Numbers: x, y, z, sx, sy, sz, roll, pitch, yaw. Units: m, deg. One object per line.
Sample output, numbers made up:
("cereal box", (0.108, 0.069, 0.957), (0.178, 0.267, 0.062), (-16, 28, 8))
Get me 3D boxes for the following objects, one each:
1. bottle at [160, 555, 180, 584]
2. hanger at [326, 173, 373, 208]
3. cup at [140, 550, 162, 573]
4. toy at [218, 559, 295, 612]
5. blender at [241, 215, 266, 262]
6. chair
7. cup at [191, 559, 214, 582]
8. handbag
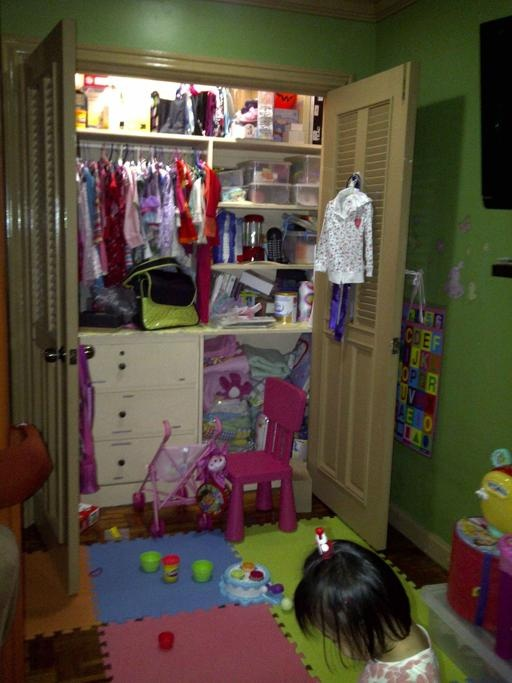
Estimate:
("bottle", (-0.362, 0.958, 2.206), (0.094, 0.103, 0.097), (2, 8, 0))
("hanger", (0.463, -0.696, 2.482), (0.066, 0.190, 0.163), (8, 7, 40))
("cup", (-0.475, 0.980, 2.334), (0.068, 0.046, 0.070), (4, 1, 0))
("toy", (-0.017, 0.996, 2.149), (0.279, 0.068, 0.220), (1, 7, 2))
("blender", (-0.024, -0.655, 3.331), (0.155, 0.269, 0.159), (3, 7, 10))
("chair", (0.032, 0.584, 2.697), (0.395, 0.755, 0.379), (0, 6, -4))
("cup", (-0.234, 0.987, 2.281), (0.095, 0.055, 0.148), (0, 7, -6))
("handbag", (-0.514, -0.234, 2.955), (0.337, 0.331, 0.146), (-3, 1, -37))
